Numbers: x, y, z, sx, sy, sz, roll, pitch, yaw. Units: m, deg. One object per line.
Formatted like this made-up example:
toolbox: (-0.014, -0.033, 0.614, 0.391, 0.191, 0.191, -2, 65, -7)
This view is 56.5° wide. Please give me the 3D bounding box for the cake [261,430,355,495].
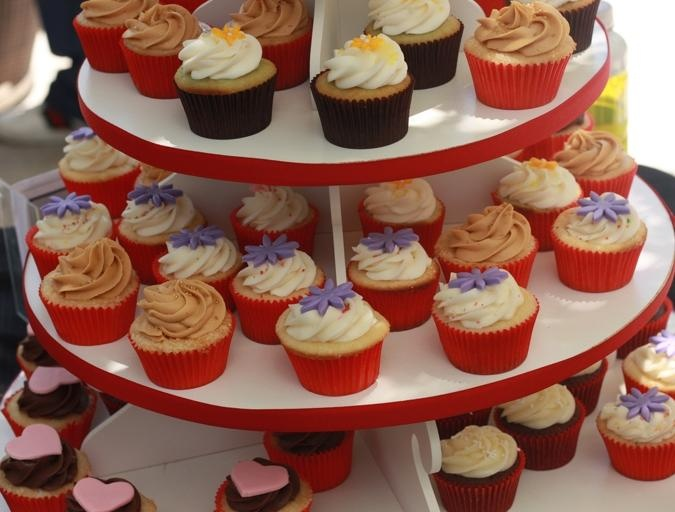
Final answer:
cake: (-0.115, 0.768, 2.355, 0.296, 0.290, 0.277, -5, 36, -3)
